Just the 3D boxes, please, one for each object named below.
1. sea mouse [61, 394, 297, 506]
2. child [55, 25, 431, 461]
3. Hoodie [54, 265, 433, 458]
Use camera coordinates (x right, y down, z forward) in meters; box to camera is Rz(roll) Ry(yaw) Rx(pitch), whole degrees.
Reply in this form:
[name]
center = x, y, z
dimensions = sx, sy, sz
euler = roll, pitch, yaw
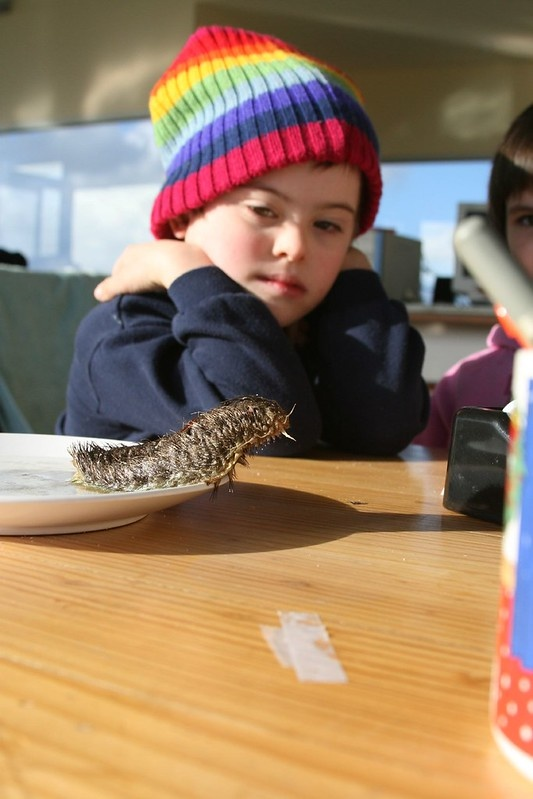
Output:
[sea mouse]
center = -0.086, 0.025, 0.499
dimensions = 0.205, 0.049, 0.081
euler = -9, -30, 16
[child]
center = -0.051, -0.244, 1.154
dimensions = 0.500, 0.612, 0.519
euler = -2, 2, -36
[Hoodie]
center = -0.011, -0.046, 0.981
dimensions = 0.322, 0.156, 0.398
euler = -5, -1, -45
